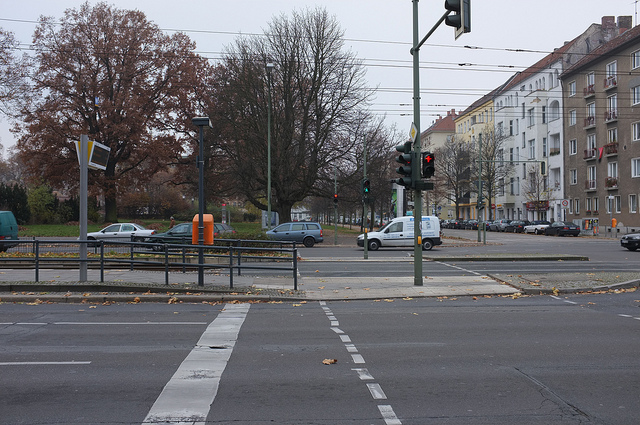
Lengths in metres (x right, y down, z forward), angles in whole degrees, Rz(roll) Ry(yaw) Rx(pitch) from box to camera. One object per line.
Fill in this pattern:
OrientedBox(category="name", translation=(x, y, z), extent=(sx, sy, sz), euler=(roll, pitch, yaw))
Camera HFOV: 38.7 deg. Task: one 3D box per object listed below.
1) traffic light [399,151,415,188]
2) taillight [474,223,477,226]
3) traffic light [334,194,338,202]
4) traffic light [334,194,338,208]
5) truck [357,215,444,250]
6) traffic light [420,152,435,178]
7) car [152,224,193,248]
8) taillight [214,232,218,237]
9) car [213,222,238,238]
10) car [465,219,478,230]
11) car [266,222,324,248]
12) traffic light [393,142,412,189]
OrientedBox(category="traffic light", translation=(4.847, -2.324, 49.818), extent=(0.844, 2.004, 0.322), euler=(-2, -2, 0))
OrientedBox(category="taillight", translation=(17.941, 1.408, 104.663), extent=(0.186, 0.285, 0.165), euler=(-4, -8, -5))
OrientedBox(category="traffic light", translation=(1.289, -1.057, 69.291), extent=(0.148, 0.568, 0.591), euler=(-2, -2, -7))
OrientedBox(category="traffic light", translation=(1.286, -0.972, 69.322), extent=(0.182, 0.734, 0.865), euler=(-1, -2, -11))
OrientedBox(category="truck", translation=(5.967, 1.518, 66.427), extent=(5.572, 1.978, 2.440), euler=(1, -2, 2))
OrientedBox(category="traffic light", translation=(5.894, -2.571, 49.575), extent=(0.402, 1.415, 0.894), euler=(0, -3, -45))
OrientedBox(category="car", translation=(-9.906, 1.510, 62.462), extent=(3.078, 1.355, 1.761), euler=(2, -3, -2))
OrientedBox(category="taillight", translation=(-6.785, 1.466, 60.374), extent=(0.286, 0.110, 0.270), euler=(-4, -15, -6))
OrientedBox(category="car", translation=(-6.514, 1.315, 63.021), extent=(1.184, 0.828, 1.802), euler=(0, 7, 6))
OrientedBox(category="car", translation=(17.776, 1.476, 106.539), extent=(0.996, 0.763, 2.415), euler=(1, 5, 9))
OrientedBox(category="car", translation=(-1.604, 1.694, 69.078), extent=(3.917, 1.263, 1.929), euler=(3, -3, -13))
OrientedBox(category="traffic light", translation=(4.596, -2.516, 50.255), extent=(0.952, 2.548, 1.366), euler=(-1, -2, -13))
